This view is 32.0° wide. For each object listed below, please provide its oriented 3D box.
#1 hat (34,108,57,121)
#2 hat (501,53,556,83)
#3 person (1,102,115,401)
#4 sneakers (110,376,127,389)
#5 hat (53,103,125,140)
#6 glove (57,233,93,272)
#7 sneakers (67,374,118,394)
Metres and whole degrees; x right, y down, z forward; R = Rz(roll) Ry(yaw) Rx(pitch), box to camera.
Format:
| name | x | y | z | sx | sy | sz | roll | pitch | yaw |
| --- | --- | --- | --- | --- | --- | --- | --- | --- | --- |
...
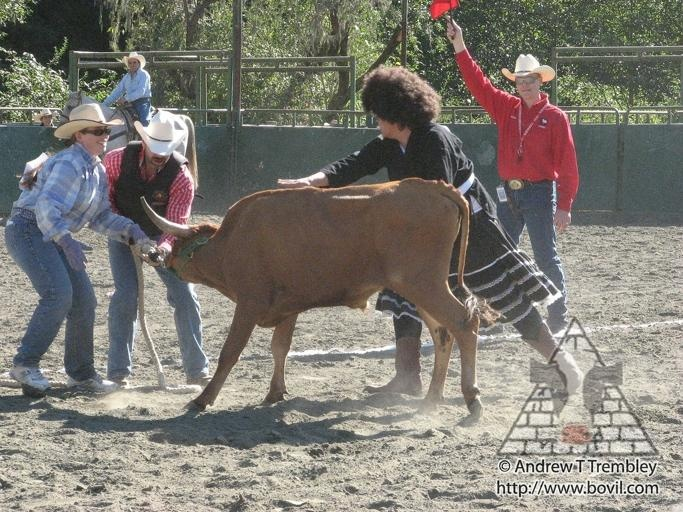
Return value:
| name | x | y | z | sx | sy | sz | roll | pitch | yaw |
| --- | --- | --- | --- | --- | --- | --- | --- | --- | --- |
| hat | -4.886 | -2.293 | 19.704 | 0.288 | 0.125 | 0.326 | -20 | 1 | -18 |
| hat | 1.959 | -1.954 | 12.296 | 0.424 | 0.215 | 0.497 | -8 | -14 | 22 |
| person | -2.569 | -0.036 | 10.889 | 0.934 | 2.629 | 0.662 | -1 | 4 | -18 |
| sneakers | -2.080 | 1.194 | 11.151 | 0.137 | 0.161 | 0.100 | 1 | -10 | 0 |
| hat | -2.359 | -1.178 | 10.833 | 0.402 | 0.173 | 0.381 | -20 | -6 | -6 |
| glove | -2.367 | -0.040 | 10.715 | 0.153 | 0.372 | 0.230 | -40 | 5 | -22 |
| sneakers | -2.303 | 1.197 | 11.115 | 0.479 | 0.247 | 0.182 | 1 | 5 | -8 |
